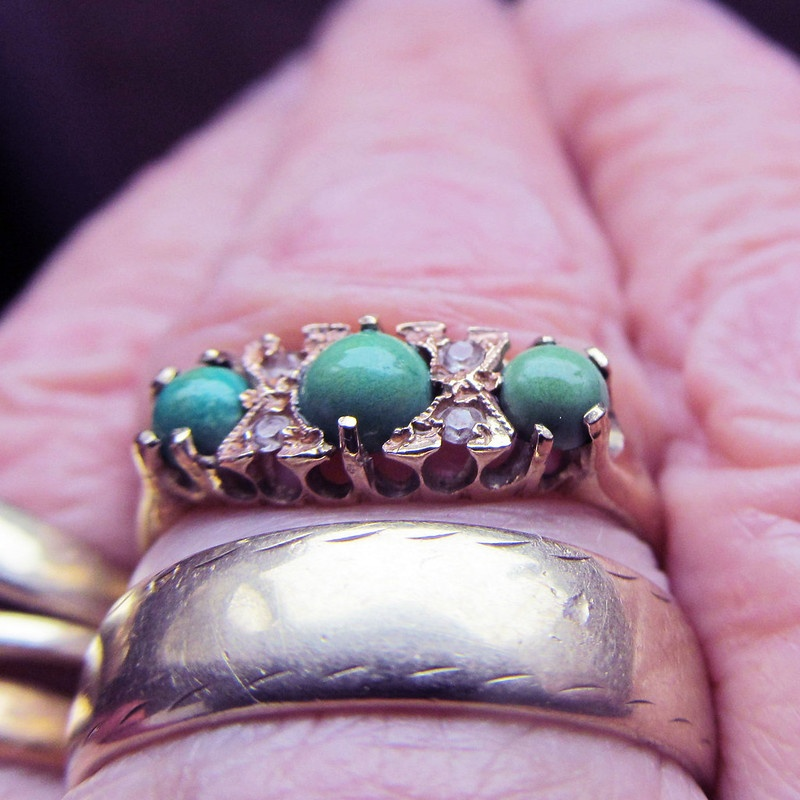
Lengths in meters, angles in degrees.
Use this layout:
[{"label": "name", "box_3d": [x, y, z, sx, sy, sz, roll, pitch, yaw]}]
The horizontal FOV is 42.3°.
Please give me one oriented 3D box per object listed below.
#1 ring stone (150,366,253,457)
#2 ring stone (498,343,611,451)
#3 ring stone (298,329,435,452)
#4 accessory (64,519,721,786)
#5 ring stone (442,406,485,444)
[{"label": "ring stone", "box_3d": [-0.148, 0.003, 0.809, 0.076, 0.075, 0.050, -24, 89, 24]}, {"label": "ring stone", "box_3d": [0.118, 0.000, 0.798, 0.091, 0.093, 0.074, -1, 84, 37]}, {"label": "ring stone", "box_3d": [-0.026, -0.010, 0.760, 0.101, 0.053, 0.087, 5, 58, 5]}, {"label": "accessory", "box_3d": [-0.003, 0.171, 0.703, 0.428, 0.101, 0.162, -1, 60, 2]}, {"label": "ring stone", "box_3d": [0.045, 0.018, 0.764, 0.031, 0.010, 0.027, 3, 49, 6]}]
